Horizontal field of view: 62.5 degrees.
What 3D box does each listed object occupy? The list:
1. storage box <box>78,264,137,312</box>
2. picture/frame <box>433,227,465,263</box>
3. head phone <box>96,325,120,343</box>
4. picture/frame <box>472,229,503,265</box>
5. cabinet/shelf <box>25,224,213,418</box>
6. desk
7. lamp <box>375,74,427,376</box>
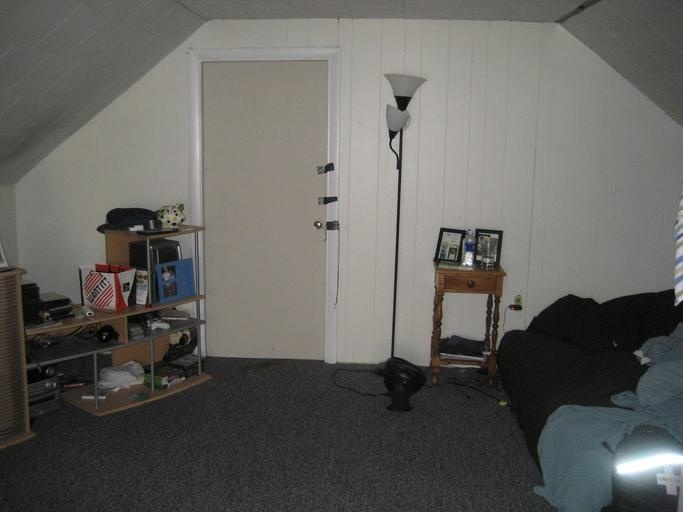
[{"bbox_3d":[-1.668,0.218,4.025,0.363,0.277,0.205,4,8,17],"label":"storage box"},{"bbox_3d":[0.864,-0.090,4.432,0.217,0.304,0.033,11,0,6],"label":"picture/frame"},{"bbox_3d":[-1.620,0.542,3.918,0.089,0.113,0.130,4,6,26],"label":"head phone"},{"bbox_3d":[1.136,-0.069,4.375,0.265,0.367,0.038,1,-2,0],"label":"picture/frame"},{"bbox_3d":[-1.656,0.416,4.048,0.549,1.199,1.386,5,9,31],"label":"cabinet/shelf"},{"bbox_3d":[0.966,0.515,4.339,0.541,0.906,0.477,2,5,11],"label":"desk"},{"bbox_3d":[0.473,-0.285,4.371,0.300,2.216,0.292,2,5,8],"label":"lamp"}]
